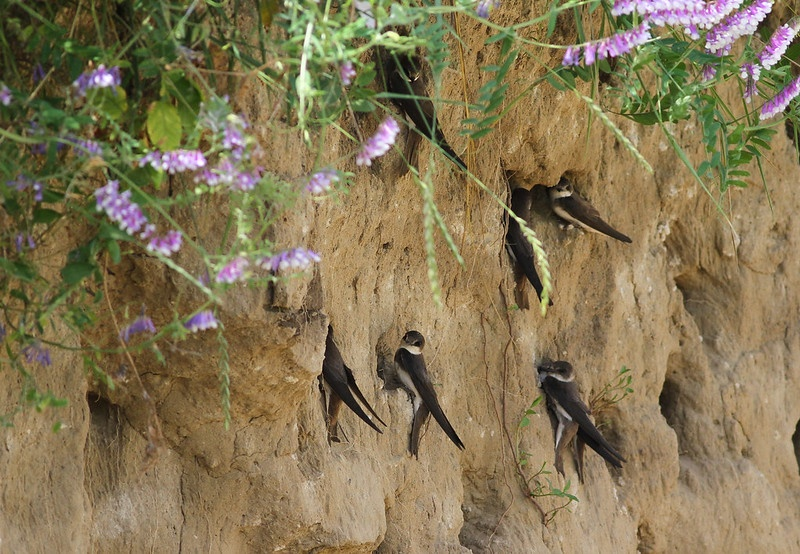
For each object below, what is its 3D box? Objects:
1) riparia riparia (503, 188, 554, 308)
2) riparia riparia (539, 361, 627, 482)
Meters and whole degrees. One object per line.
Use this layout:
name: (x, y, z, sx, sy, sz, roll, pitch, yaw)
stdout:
riparia riparia: (0.772, -0.313, 7.854, 0.248, 0.355, 1.012, -4, 78, -11)
riparia riparia: (1.085, 0.925, 7.904, 0.344, 0.245, 0.834, -35, 58, 8)
